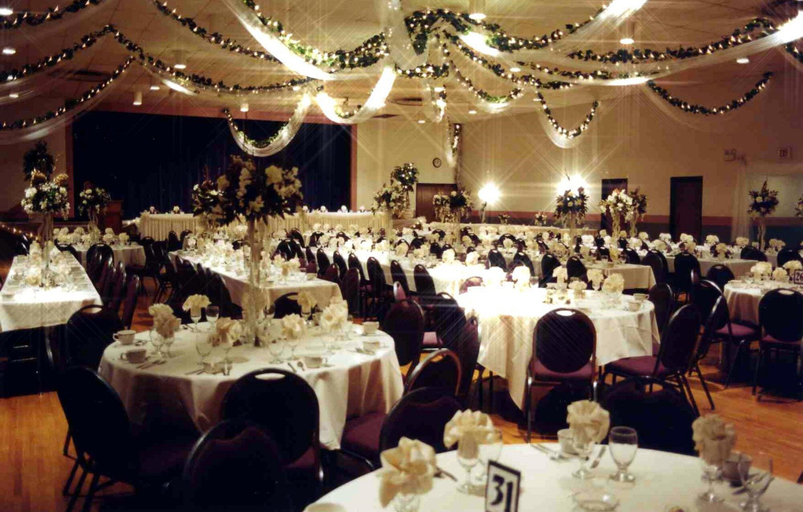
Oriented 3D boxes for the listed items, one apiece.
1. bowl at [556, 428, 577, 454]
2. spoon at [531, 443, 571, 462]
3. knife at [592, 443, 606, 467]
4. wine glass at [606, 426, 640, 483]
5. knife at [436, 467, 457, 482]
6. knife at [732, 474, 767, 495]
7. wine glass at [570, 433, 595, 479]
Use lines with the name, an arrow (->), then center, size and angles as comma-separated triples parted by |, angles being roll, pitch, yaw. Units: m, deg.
bowl -> 1.168, 1.311, 4.179 | 0.155, 0.128, 0.170 | -1, -3, -2
spoon -> 1.083, 1.433, 4.338 | 0.087, 0.044, 0.274 | -10, 16, -25
knife -> 1.427, 1.449, 4.311 | 0.052, 0.019, 0.375 | 13, 15, 24
wine glass -> 1.539, 1.369, 4.140 | 0.168, 0.395, 0.268 | 0, 2, 19
knife -> 0.305, 1.525, 4.160 | 0.105, 0.027, 0.104 | 28, -3, 2
knife -> 2.305, 1.494, 3.918 | 0.221, 0.162, 0.055 | -1, 2, 10
wine glass -> 1.281, 1.357, 4.195 | 0.141, 0.361, 0.368 | 0, 2, 18
